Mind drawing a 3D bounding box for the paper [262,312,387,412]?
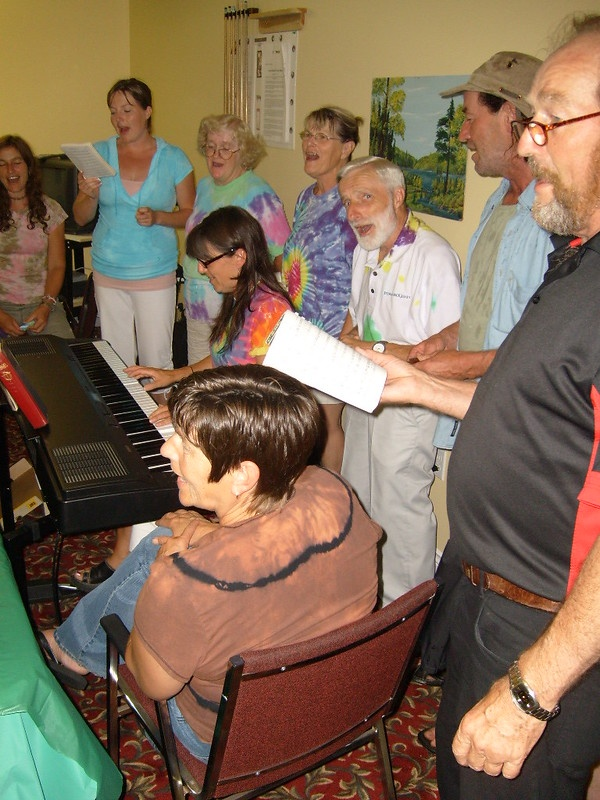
[{"bbox_3d":[0.052,-0.057,1.157,0.246,0.140,0.064,23,-15,-23],"label":"paper"}]

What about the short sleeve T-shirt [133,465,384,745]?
[{"bbox_3d":[-0.065,0.396,1.061,0.436,0.494,0.229,-14,26,-34],"label":"short sleeve T-shirt"}]

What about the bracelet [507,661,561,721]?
[{"bbox_3d":[0.292,0.373,0.776,0.063,0.057,0.040,16,26,33],"label":"bracelet"}]

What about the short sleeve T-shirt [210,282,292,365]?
[{"bbox_3d":[-0.156,-0.244,1.944,0.151,0.246,0.264,13,42,-16],"label":"short sleeve T-shirt"}]

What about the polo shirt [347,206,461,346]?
[{"bbox_3d":[0.370,-0.450,2.326,0.301,0.489,0.569,-16,28,-30],"label":"polo shirt"}]
